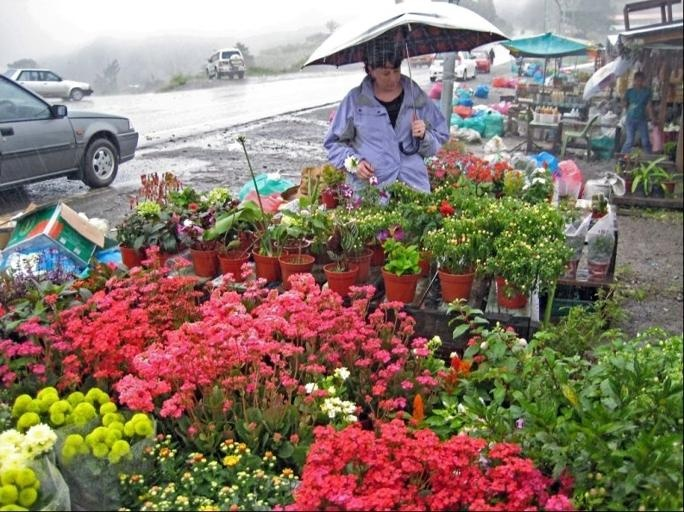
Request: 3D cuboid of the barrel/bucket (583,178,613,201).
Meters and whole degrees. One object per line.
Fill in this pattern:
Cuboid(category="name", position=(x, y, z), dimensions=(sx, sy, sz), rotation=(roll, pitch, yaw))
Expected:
Cuboid(category="barrel/bucket", position=(3.220, -0.824, 6.181), dimensions=(0.331, 0.379, 0.363), rotation=(2, 8, 0))

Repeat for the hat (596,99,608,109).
Cuboid(category="hat", position=(5.234, -3.036, 9.886), dimensions=(0.166, 0.054, 0.169), rotation=(-13, -11, -38))

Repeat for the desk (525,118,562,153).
Cuboid(category="desk", position=(4.531, -2.683, 11.070), dimensions=(0.708, 0.711, 0.743), rotation=(16, 39, 25))
